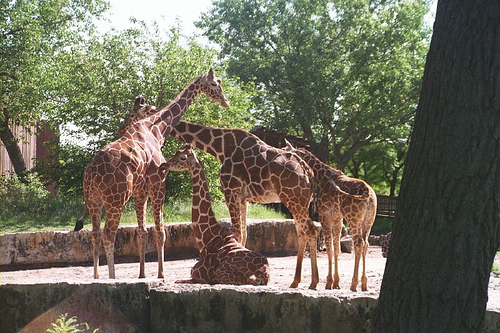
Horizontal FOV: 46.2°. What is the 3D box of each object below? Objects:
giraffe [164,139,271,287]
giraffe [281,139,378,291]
[{"bbox_3d":[-0.570,0.772,10.279,0.892,2.448,1.760,4,-6,-44],"label":"giraffe"},{"bbox_3d":[1.662,0.926,11.143,1.455,2.693,1.347,-1,-4,10],"label":"giraffe"}]
